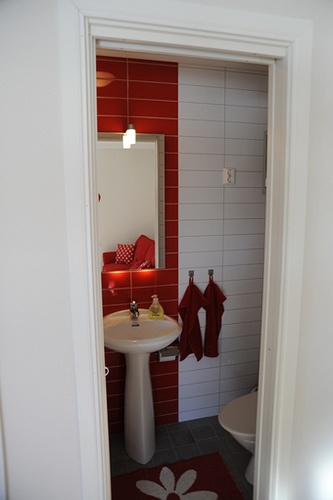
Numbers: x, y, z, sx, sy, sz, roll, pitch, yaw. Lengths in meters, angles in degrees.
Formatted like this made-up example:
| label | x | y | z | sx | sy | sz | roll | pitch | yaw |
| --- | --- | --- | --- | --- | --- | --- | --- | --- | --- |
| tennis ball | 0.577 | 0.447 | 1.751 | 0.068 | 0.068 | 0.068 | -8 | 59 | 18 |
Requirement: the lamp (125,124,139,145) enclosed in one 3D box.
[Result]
| label | x | y | z | sx | sy | sz | roll | pitch | yaw |
| --- | --- | --- | --- | --- | --- | --- | --- | --- | --- |
| lamp | -0.191 | -0.625 | 2.177 | 0.065 | 0.166 | 0.083 | -3 | 12 | -12 |

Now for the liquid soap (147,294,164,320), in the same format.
| label | x | y | z | sx | sy | sz | roll | pitch | yaw |
| --- | --- | --- | --- | --- | --- | --- | --- | --- | --- |
| liquid soap | -0.063 | 0.333 | 2.309 | 0.085 | 0.128 | 0.086 | 4 | 9 | 38 |

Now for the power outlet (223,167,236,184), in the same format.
| label | x | y | z | sx | sy | sz | roll | pitch | yaw |
| --- | --- | --- | --- | --- | --- | --- | --- | --- | --- |
| power outlet | 0.376 | -0.450 | 2.436 | 0.088 | 0.141 | 0.065 | -1 | 5 | -6 |

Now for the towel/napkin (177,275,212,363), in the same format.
| label | x | y | z | sx | sy | sz | roll | pitch | yaw |
| --- | --- | --- | --- | --- | --- | --- | --- | --- | --- |
| towel/napkin | 0.161 | 0.436 | 2.489 | 0.179 | 0.549 | 0.063 | -4 | 7 | -27 |

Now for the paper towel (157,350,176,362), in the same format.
| label | x | y | z | sx | sy | sz | roll | pitch | yaw |
| --- | --- | --- | --- | --- | --- | --- | --- | --- | --- |
| paper towel | 0.008 | 0.612 | 2.318 | 0.114 | 0.055 | 0.052 | -3 | 7 | -17 |

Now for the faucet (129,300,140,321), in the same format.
| label | x | y | z | sx | sy | sz | roll | pitch | yaw |
| --- | --- | --- | --- | --- | --- | --- | --- | --- | --- |
| faucet | -0.186 | 0.347 | 2.314 | 0.062 | 0.096 | 0.110 | -2 | 7 | -5 |
